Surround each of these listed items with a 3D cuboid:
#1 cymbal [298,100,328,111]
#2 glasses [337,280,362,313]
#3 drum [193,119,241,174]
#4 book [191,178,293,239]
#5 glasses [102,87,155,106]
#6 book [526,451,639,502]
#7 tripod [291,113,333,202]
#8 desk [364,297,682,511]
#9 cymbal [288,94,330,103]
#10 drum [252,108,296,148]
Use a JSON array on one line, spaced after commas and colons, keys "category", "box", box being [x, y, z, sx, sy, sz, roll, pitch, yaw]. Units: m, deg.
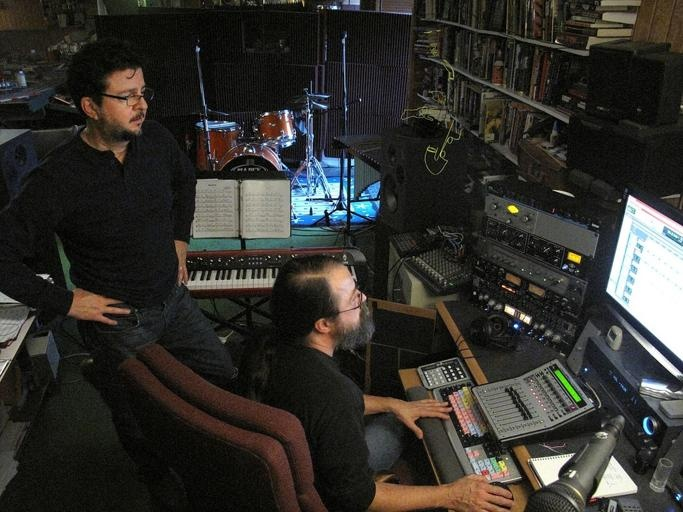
[{"category": "cymbal", "box": [-0.354, -1.874, 6.030, 0.292, 0.075, 0.303, 7, 24, 15]}, {"category": "glasses", "box": [0.038, 0.168, 1.925, 0.099, 0.029, 0.097, -10, 18, -7]}, {"category": "drum", "box": [-1.487, -1.368, 5.896, 0.628, 0.630, 0.650, 3, 25, -1]}, {"category": "book", "box": [-0.669, -0.309, 3.230, 0.644, 0.448, 0.113, -1, -8, -11]}, {"category": "glasses", "box": [-1.016, -0.749, 2.240, 0.171, 0.052, 0.170, 8, 24, 10]}, {"category": "book", "box": [0.872, 0.784, 1.722, 0.234, 0.059, 0.250, -1, 15, 1]}, {"category": "tripod", "box": [-0.357, -1.322, 6.276, 0.688, 1.130, 0.666, 2, 14, 20]}, {"category": "desk", "box": [0.686, 0.774, 2.264, 0.737, 0.275, 1.139, -3, 32, -7]}, {"category": "cymbal", "box": [-0.398, -1.925, 5.911, 0.242, 0.059, 0.247, 16, 28, 36]}, {"category": "drum", "box": [-0.818, -1.570, 6.079, 0.444, 0.330, 0.459, -2, 8, 0]}]
